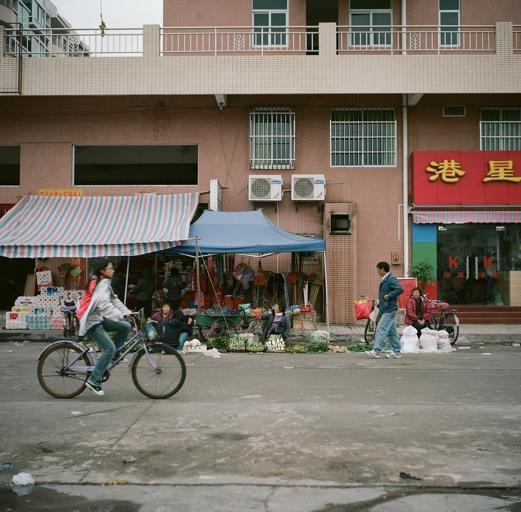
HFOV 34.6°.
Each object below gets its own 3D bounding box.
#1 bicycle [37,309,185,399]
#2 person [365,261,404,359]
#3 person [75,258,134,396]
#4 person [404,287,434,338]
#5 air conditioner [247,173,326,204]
[{"bbox_3d":[-1.910,1.347,11.577,2.060,1.234,0.989,-2,0,1],"label":"bicycle"},{"bbox_3d":[2.215,0.991,14.976,0.607,1.676,0.719,1,4,-4],"label":"person"},{"bbox_3d":[-2.105,0.982,11.204,0.652,1.820,0.689,-1,-3,18],"label":"person"},{"bbox_3d":[3.123,1.093,16.670,0.736,0.801,0.388,0,-2,5],"label":"person"},{"bbox_3d":[0.620,-1.693,20.518,1.872,0.674,0.417,0,-3,-3],"label":"air conditioner"}]
